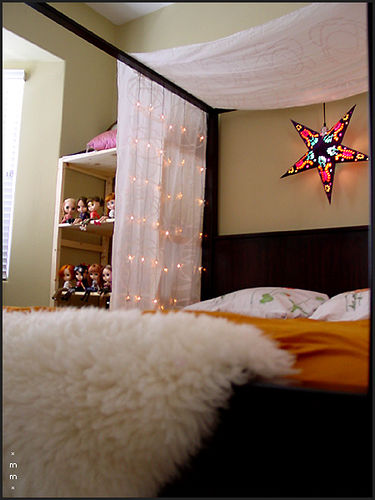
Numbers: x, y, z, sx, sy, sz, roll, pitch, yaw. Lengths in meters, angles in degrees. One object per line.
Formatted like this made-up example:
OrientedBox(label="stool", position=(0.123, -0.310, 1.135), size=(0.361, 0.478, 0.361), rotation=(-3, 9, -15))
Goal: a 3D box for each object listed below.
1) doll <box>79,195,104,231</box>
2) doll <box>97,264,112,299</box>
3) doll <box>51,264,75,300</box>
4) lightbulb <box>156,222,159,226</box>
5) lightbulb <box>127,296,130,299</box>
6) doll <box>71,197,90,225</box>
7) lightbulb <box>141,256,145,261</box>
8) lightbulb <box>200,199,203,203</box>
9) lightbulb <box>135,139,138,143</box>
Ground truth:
OrientedBox(label="doll", position=(-0.665, -0.248, 2.556), size=(0.117, 0.229, 0.121), rotation=(-3, -7, 43))
OrientedBox(label="doll", position=(-0.550, 0.192, 2.444), size=(0.077, 0.204, 0.380), rotation=(1, 0, -14))
OrientedBox(label="doll", position=(-0.825, 0.215, 2.460), size=(0.140, 0.225, 0.203), rotation=(1, 0, -20))
OrientedBox(label="lightbulb", position=(-0.164, -0.143, 2.061), size=(0.012, 0.024, 0.016), rotation=(-3, 5, -31))
OrientedBox(label="lightbulb", position=(-0.298, 0.238, 1.864), size=(0.008, 0.016, 0.008), rotation=(4, -34, -11))
OrientedBox(label="doll", position=(-0.728, -0.268, 2.542), size=(0.114, 0.179, 0.128), rotation=(1, 0, -14))
OrientedBox(label="lightbulb", position=(-0.237, 0.047, 1.959), size=(0.013, 0.027, 0.014), rotation=(2, -5, -13))
OrientedBox(label="lightbulb", position=(0.094, -0.335, 2.548), size=(0.012, 0.025, 0.013), rotation=(2, 2, -1))
OrientedBox(label="lightbulb", position=(-0.276, -0.585, 2.008), size=(0.013, 0.028, 0.014), rotation=(1, -3, 8))
